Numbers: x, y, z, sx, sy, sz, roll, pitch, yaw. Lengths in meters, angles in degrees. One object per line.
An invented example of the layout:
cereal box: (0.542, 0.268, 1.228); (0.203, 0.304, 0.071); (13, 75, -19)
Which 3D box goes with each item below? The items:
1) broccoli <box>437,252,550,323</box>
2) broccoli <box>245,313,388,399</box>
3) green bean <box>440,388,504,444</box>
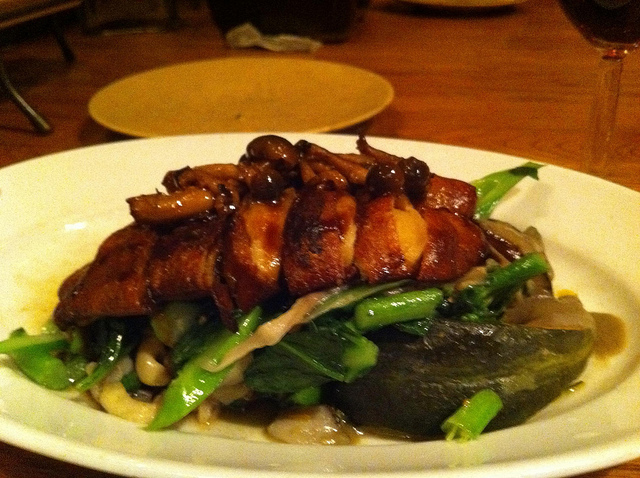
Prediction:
broccoli: (0.497, 0.169, 1.617); (0.414, 0.083, 0.101); (-20, 83, -10)
broccoli: (0.012, 0.306, 1.592); (0.310, 0.083, 0.227); (43, 26, 12)
green bean: (0.415, 0.483, 1.477); (0.101, 0.055, 0.177); (24, 52, 40)
